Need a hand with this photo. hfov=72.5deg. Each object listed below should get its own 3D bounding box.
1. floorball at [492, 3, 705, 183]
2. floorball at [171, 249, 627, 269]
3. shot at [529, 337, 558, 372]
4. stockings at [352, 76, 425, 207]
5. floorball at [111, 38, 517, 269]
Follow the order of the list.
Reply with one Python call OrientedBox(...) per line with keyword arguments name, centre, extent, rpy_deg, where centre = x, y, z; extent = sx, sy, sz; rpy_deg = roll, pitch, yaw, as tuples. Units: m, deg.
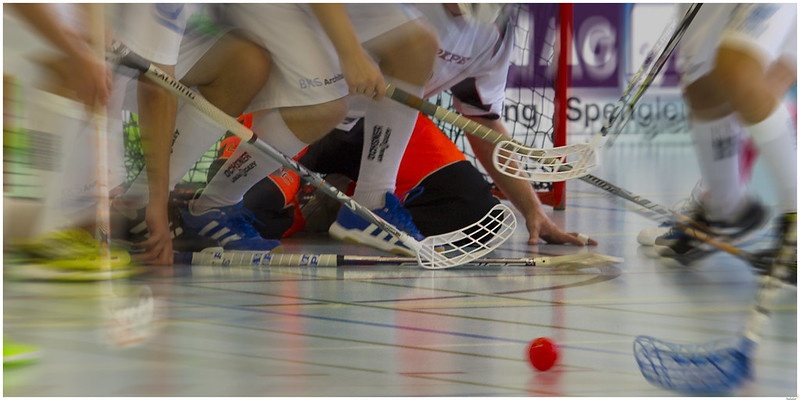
OrientedBox(name="floorball", centre=(0.818, -0.372, 2.245), extent=(0.883, 0.515, 0.343), rpy_deg=(-41, 70, -6))
OrientedBox(name="floorball", centre=(-0.065, 0.249, 2.240), extent=(1.763, 0.181, 0.083), rpy_deg=(0, 73, 9))
OrientedBox(name="shot", centre=(0.418, 0.454, 1.620), extent=(0.103, 0.023, 0.087), rpy_deg=(14, 59, -24))
OrientedBox(name="stockings", centre=(-0.046, -0.261, 2.549), extent=(0.239, 0.285, 0.616), rpy_deg=(0, 91, 10))
OrientedBox(name="floorball", centre=(-0.067, -0.187, 2.546), extent=(1.629, 0.612, 0.891), rpy_deg=(3, 98, 27))
